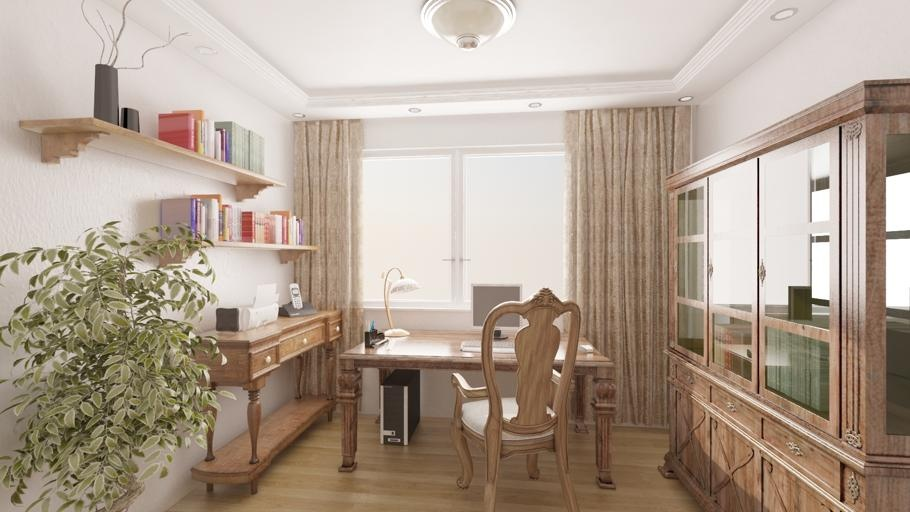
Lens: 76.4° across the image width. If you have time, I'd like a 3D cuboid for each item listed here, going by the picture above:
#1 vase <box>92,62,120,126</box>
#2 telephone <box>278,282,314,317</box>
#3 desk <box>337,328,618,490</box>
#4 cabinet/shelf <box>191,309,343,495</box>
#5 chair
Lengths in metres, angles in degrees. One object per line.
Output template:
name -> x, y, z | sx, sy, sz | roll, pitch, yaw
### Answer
vase -> -2.445, -1.128, 4.058 | 0.152, 0.429, 0.229 | -3, 2, -31
telephone -> -1.547, 0.426, 5.617 | 0.280, 0.300, 0.331 | 6, 6, 32
desk -> 0.166, 1.421, 5.481 | 2.350, 0.919, 1.521 | 2, -9, 0
cabinet/shelf -> -1.636, 1.275, 4.964 | 0.604, 0.954, 1.662 | 1, 1, 7
chair -> 0.491, 1.121, 4.667 | 0.999, 1.763, 0.869 | -1, 2, 10
